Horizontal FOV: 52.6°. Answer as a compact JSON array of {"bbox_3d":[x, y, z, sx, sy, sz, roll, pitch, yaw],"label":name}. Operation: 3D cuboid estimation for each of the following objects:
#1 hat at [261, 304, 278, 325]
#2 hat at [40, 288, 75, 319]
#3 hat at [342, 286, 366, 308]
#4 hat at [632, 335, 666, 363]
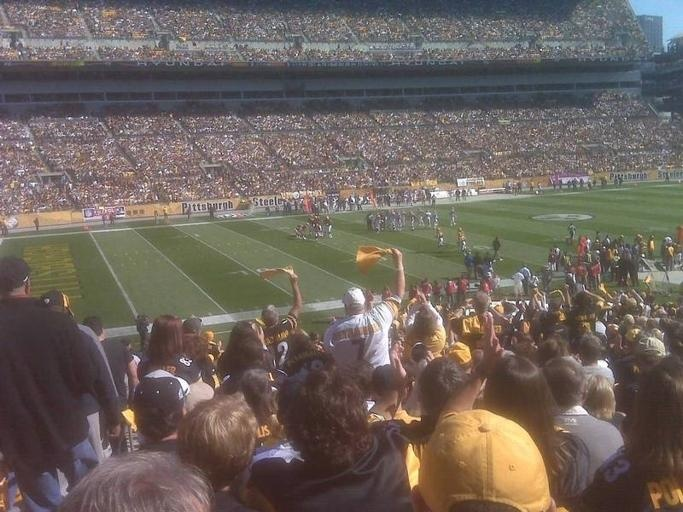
[{"bbox_3d":[-1.147,0.944,10.842,0.238,0.263,0.426,-4,8,-7],"label":"hat"},{"bbox_3d":[-3.231,0.519,7.786,0.270,0.215,0.597,-7,8,-24],"label":"hat"},{"bbox_3d":[0.152,0.494,8.422,0.238,0.222,0.363,-4,8,-4],"label":"hat"},{"bbox_3d":[3.348,1.079,7.528,0.238,0.258,0.368,3,20,36],"label":"hat"}]
